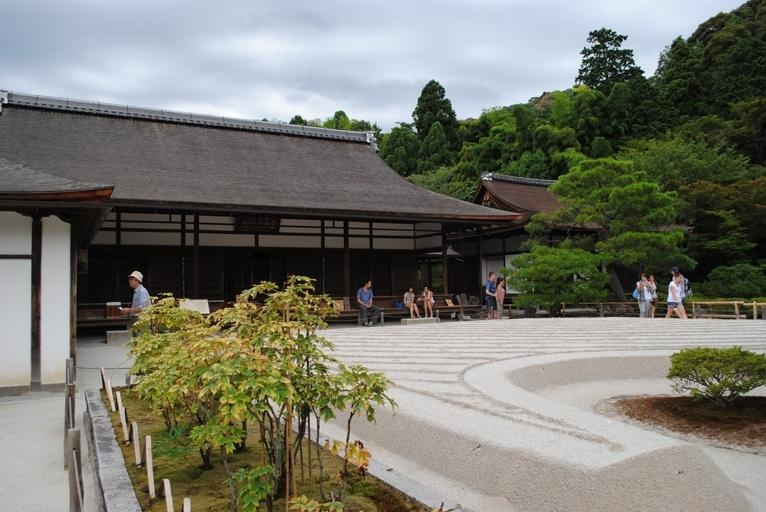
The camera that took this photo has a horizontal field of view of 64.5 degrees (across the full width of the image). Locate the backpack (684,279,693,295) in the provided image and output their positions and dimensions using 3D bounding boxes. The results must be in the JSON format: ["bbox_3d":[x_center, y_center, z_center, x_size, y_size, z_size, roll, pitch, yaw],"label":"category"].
[{"bbox_3d":[9.090,1.009,18.011,0.196,0.613,0.220,-8,13,2],"label":"backpack"}]

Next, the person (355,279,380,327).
[{"bbox_3d":[-0.359,1.276,15.694,0.641,1.095,1.055,-3,-2,18],"label":"person"}]

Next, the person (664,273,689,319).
[{"bbox_3d":[7.219,1.023,14.968,0.430,0.916,1.407,-3,-2,25],"label":"person"}]

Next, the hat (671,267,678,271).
[{"bbox_3d":[7.219,0.396,15.007,0.118,0.063,0.095,4,-8,-26],"label":"hat"}]

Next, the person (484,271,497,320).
[{"bbox_3d":[3.071,1.197,17.089,0.330,1.265,1.297,-2,-2,9],"label":"person"}]

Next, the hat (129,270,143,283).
[{"bbox_3d":[-4.324,0.414,10.634,0.241,0.129,0.258,5,-13,31],"label":"hat"}]

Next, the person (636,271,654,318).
[{"bbox_3d":[6.957,1.122,16.102,0.378,0.892,0.931,-3,-2,23],"label":"person"}]
